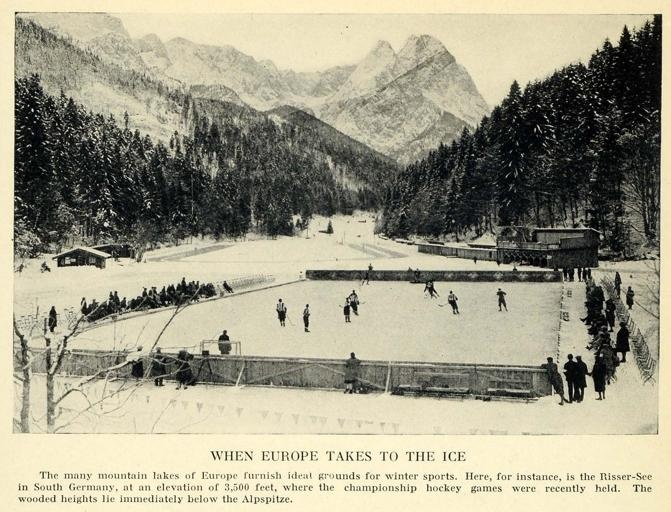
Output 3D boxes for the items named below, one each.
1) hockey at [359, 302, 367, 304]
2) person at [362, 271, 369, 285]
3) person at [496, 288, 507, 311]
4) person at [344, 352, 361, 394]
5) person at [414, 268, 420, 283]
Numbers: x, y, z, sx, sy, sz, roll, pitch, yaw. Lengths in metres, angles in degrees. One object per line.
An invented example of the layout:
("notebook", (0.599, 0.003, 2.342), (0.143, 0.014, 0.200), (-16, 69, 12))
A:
("hockey", (2.515, 4.354, 75.418), (0.631, 0.058, 0.578), (-1, 12, 4))
("person", (3.204, 2.378, 85.887), (0.779, 2.183, 0.621), (9, -17, -23))
("person", (14.831, 3.790, 71.475), (0.749, 1.750, 1.993), (0, 11, 11))
("person", (1.408, 8.382, 59.575), (0.977, 3.259, 0.836), (-4, 29, 2))
("person", (8.604, 2.045, 83.907), (0.491, 1.240, 0.833), (1, 11, 17))
